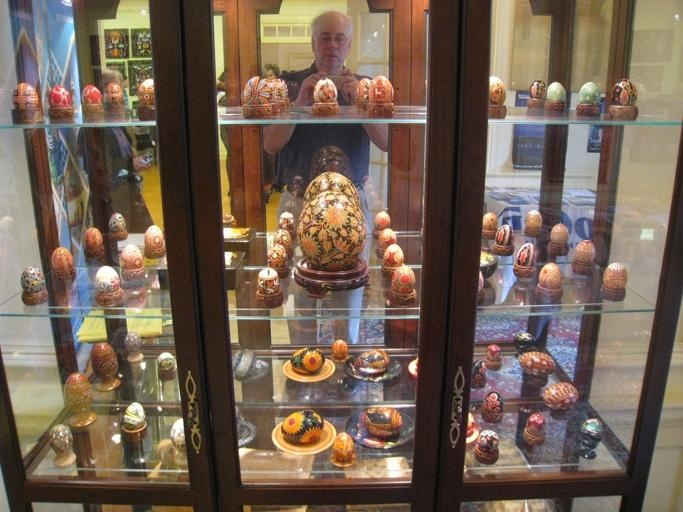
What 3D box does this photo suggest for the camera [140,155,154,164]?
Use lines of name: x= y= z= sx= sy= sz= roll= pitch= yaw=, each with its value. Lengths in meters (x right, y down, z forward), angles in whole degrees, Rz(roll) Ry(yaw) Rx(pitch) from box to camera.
camera: x=-0.473 y=-0.237 z=1.387 sx=0.026 sy=0.029 sz=0.021 roll=2 pitch=12 yaw=33

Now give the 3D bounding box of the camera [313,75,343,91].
camera: x=-0.037 y=-0.439 z=1.438 sx=0.078 sy=0.042 sz=0.037 roll=-2 pitch=17 yaw=-1
